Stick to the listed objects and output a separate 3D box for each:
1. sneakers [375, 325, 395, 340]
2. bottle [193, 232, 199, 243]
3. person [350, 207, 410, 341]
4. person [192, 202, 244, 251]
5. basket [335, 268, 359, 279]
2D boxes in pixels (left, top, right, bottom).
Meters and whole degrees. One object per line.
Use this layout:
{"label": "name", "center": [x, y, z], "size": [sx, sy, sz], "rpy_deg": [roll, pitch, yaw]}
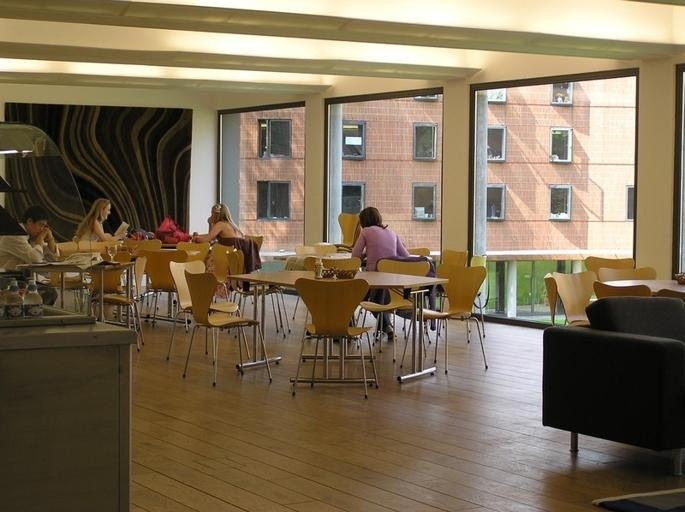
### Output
{"label": "sneakers", "center": [0.497, 0.925, 7.368], "size": [0.236, 0.257, 0.150], "rpy_deg": [-2, 4, -10]}
{"label": "bottle", "center": [-2.313, -0.290, 9.555], "size": [0.128, 0.191, 0.070], "rpy_deg": [-3, 7, -40]}
{"label": "person", "center": [0.483, 0.179, 7.418], "size": [0.566, 1.602, 0.506], "rpy_deg": [-2, 9, 18]}
{"label": "person", "center": [-1.902, -0.431, 9.268], "size": [0.773, 0.758, 0.484], "rpy_deg": [3, 2, -3]}
{"label": "basket", "center": [0.019, 0.166, 5.701], "size": [0.185, 0.078, 0.216], "rpy_deg": [0, 5, -2]}
